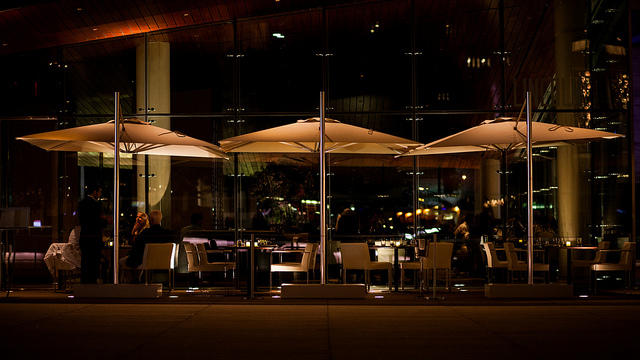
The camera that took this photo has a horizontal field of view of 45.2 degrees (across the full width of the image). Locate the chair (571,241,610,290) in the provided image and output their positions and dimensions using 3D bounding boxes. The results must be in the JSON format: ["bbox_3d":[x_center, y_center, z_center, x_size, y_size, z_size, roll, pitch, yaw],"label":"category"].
[{"bbox_3d":[7.879,2.252,22.653,1.126,1.537,0.887,2,-10,4],"label":"chair"}]

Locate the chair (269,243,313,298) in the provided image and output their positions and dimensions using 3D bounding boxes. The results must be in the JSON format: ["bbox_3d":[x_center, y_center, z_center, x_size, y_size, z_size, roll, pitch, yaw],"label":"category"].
[{"bbox_3d":[-0.869,2.601,21.908,1.414,1.540,1.616,-1,-10,3],"label":"chair"}]

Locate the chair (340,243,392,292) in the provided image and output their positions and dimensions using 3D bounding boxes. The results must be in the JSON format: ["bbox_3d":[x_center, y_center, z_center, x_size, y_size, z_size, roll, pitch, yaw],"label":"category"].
[{"bbox_3d":[1.310,2.419,21.709,1.268,1.196,1.054,7,-6,-40],"label":"chair"}]

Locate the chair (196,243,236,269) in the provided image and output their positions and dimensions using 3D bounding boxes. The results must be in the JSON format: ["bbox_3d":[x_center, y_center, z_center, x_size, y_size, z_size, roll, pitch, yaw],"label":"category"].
[{"bbox_3d":[-2.969,2.102,21.564,0.894,0.571,0.772,-1,-3,-3],"label":"chair"}]

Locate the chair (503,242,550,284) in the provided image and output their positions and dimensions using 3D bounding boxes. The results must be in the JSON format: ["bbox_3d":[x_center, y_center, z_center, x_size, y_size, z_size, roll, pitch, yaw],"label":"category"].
[{"bbox_3d":[5.810,2.210,21.807,1.077,0.981,0.949,-1,-5,3],"label":"chair"}]

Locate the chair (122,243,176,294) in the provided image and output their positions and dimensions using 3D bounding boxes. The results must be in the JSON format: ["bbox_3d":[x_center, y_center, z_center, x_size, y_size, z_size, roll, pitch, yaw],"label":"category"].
[{"bbox_3d":[-4.723,2.158,20.883,0.931,1.147,1.050,-4,-27,26],"label":"chair"}]

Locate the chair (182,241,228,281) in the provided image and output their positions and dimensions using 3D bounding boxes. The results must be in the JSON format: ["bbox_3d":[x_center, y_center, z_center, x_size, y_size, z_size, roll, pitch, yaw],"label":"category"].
[{"bbox_3d":[-3.496,2.321,22.125,1.636,1.545,1.172,0,-5,1],"label":"chair"}]

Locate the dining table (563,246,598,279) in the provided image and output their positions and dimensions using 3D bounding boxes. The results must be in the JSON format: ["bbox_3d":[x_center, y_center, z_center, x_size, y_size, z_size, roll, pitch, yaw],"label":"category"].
[{"bbox_3d":[7.116,2.237,21.164,0.987,0.919,0.960,1,-5,-7],"label":"dining table"}]

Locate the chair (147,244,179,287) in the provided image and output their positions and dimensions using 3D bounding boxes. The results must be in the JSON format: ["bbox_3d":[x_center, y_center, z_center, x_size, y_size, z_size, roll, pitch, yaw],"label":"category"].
[{"bbox_3d":[-4.665,2.443,22.363,0.649,1.321,0.990,-3,-2,5],"label":"chair"}]

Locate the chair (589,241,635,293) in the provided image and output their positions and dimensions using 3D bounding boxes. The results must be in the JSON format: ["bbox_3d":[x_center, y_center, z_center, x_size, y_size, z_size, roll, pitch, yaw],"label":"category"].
[{"bbox_3d":[8.565,2.437,22.095,1.536,1.668,1.664,0,-9,13],"label":"chair"}]
